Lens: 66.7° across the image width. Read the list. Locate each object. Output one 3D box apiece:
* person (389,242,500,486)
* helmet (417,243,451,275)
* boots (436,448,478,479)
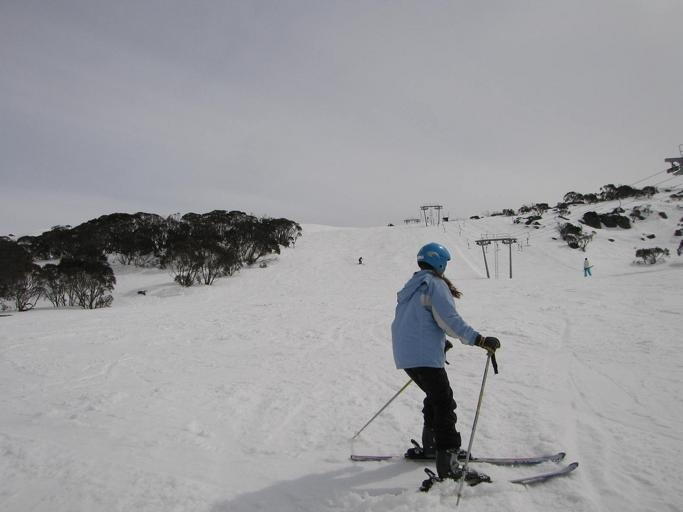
[{"bbox_3d":[1.264,1.350,6.996,1.200,2.931,0.768,12,17,39],"label":"person"},{"bbox_3d":[1.309,0.035,7.133,0.436,0.421,0.354,6,1,-17],"label":"helmet"},{"bbox_3d":[1.518,2.736,6.804,0.472,0.356,0.396,-6,15,-32],"label":"boots"}]
